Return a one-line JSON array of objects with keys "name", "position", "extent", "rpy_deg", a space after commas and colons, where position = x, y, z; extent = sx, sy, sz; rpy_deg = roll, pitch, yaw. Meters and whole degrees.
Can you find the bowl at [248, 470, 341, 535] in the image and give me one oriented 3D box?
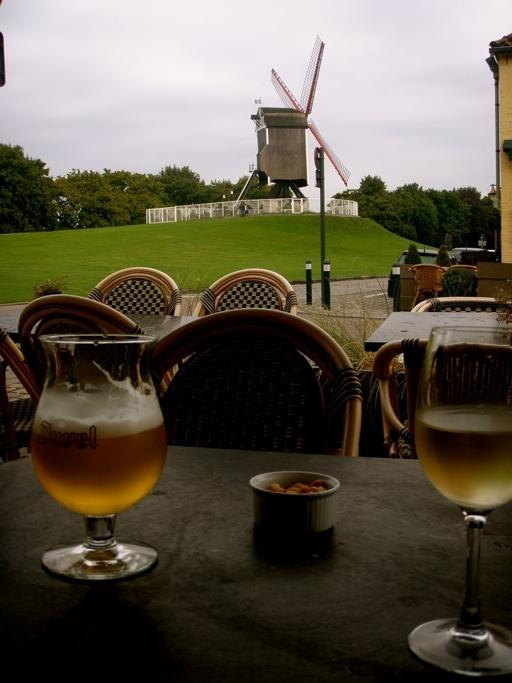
[{"name": "bowl", "position": [0.048, 0.211, 0.773], "extent": [0.115, 0.052, 0.120], "rpy_deg": [4, 2, 0]}]
